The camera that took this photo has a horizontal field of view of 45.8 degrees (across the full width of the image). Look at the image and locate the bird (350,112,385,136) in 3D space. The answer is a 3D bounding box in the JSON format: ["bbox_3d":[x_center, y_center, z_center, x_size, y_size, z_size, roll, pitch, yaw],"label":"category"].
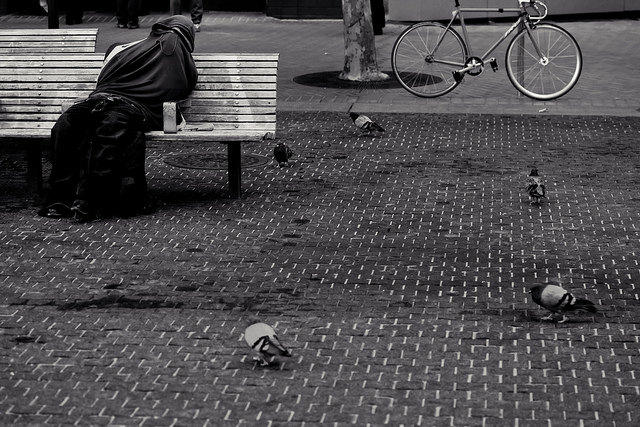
[{"bbox_3d":[0.689,-1.266,11.159,0.455,0.313,0.391,0,20,-2],"label":"bird"}]

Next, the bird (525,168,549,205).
[{"bbox_3d":[2.452,-0.302,8.499,0.260,0.369,0.500,6,20,15],"label":"bird"}]

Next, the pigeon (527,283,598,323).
[{"bbox_3d":[1.872,0.689,5.906,0.553,0.269,0.188,1,-2,-7],"label":"pigeon"}]

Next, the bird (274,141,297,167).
[{"bbox_3d":[-0.482,-0.739,9.879,0.226,0.213,0.348,-7,-9,21],"label":"bird"}]

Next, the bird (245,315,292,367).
[{"bbox_3d":[-0.398,0.883,5.315,0.445,0.258,0.220,15,20,42],"label":"bird"}]

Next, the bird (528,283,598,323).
[{"bbox_3d":[1.835,0.674,5.827,0.648,0.301,0.227,0,0,14],"label":"bird"}]
